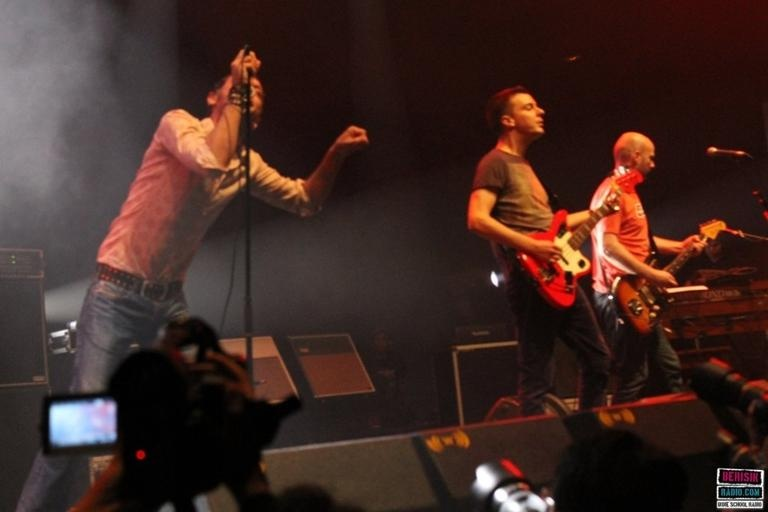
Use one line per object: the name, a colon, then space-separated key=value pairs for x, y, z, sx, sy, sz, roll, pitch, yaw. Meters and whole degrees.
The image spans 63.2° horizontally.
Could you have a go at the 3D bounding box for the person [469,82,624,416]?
person: x=1.021 y=-0.087 z=4.080 sx=0.880 sy=2.078 sz=0.644 roll=1 pitch=8 yaw=22

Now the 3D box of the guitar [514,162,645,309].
guitar: x=1.330 y=-0.108 z=4.230 sx=1.017 sy=0.433 sz=0.138 roll=-45 pitch=16 yaw=-34

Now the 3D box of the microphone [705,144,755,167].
microphone: x=2.743 y=-0.801 z=4.963 sx=0.363 sy=0.100 sz=0.099 roll=9 pitch=51 yaw=-6

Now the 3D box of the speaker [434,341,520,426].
speaker: x=0.668 y=0.880 z=4.320 sx=0.615 sy=0.621 sz=0.182 roll=-3 pitch=-20 yaw=-24
